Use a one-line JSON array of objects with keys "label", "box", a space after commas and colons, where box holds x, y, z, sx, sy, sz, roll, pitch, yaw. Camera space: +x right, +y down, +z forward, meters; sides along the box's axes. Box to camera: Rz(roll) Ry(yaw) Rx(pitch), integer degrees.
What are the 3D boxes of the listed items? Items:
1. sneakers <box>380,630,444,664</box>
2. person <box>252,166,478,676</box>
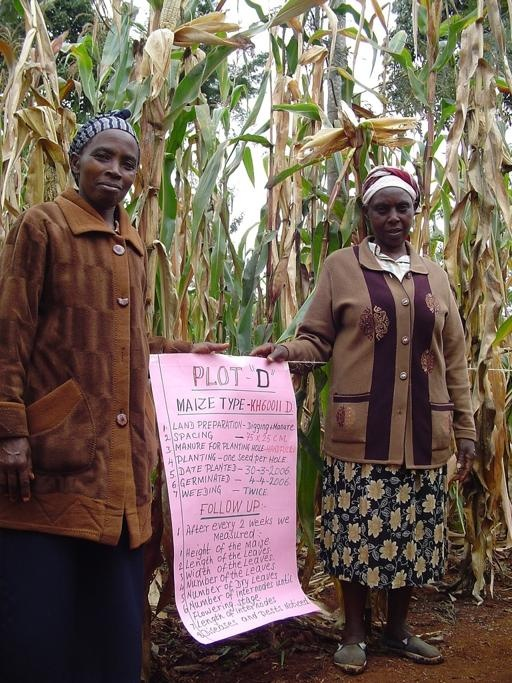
[{"label": "sneakers", "box": [0.484, 0.933, 2.029, 0.170, 0.088, 0.069, -1, -10, 42]}, {"label": "person", "box": [0.378, 0.096, 1.961, 0.631, 1.441, 0.228, 1, 0, -1]}]
